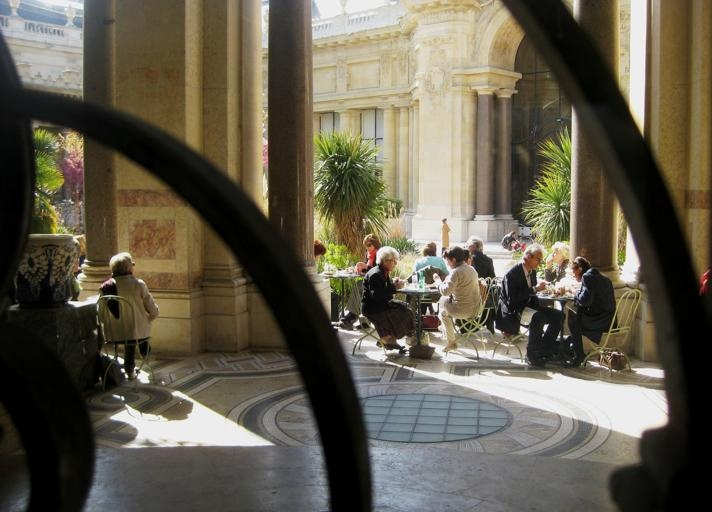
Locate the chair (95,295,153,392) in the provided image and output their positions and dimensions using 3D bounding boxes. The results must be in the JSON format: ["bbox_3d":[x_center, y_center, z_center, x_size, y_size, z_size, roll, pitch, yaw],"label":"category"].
[{"bbox_3d":[-2.446,0.859,6.820,0.548,0.954,0.510,-3,5,-38],"label":"chair"}]

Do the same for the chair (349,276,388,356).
[{"bbox_3d":[0.174,0.855,9.213,0.447,0.944,0.460,-2,4,-5],"label":"chair"}]

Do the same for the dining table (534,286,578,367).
[{"bbox_3d":[2.333,0.778,7.960,0.474,1.042,0.683,3,6,15],"label":"dining table"}]

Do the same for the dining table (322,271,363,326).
[{"bbox_3d":[-0.124,0.646,9.950,0.719,0.857,0.785,-3,25,-8],"label":"dining table"}]

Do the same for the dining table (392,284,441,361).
[{"bbox_3d":[0.819,0.865,8.235,0.610,0.914,0.726,-2,-7,18],"label":"dining table"}]

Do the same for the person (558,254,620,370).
[{"bbox_3d":[2.795,0.668,7.805,0.639,1.320,0.649,3,-6,39],"label":"person"}]
